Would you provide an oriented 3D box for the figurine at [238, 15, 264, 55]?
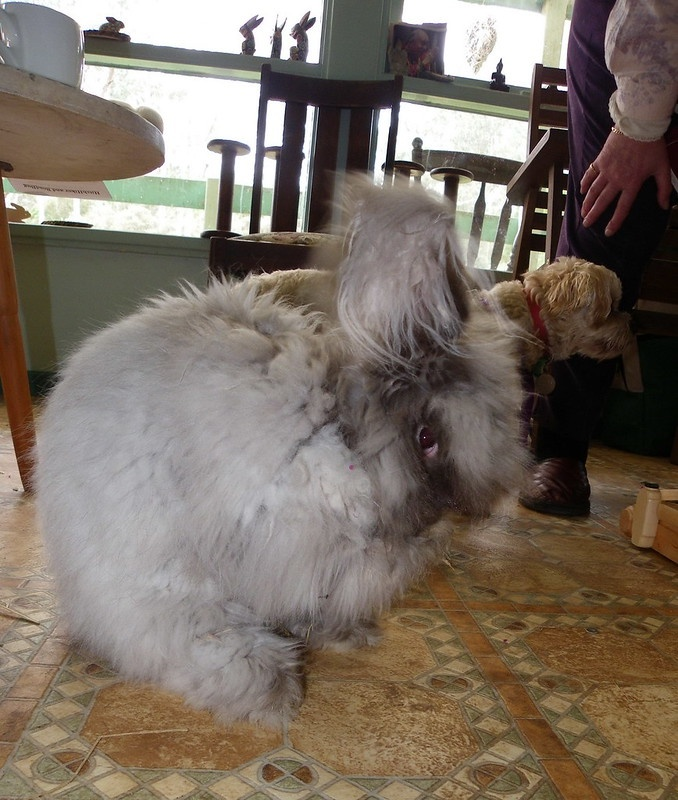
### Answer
[{"bbox_3d":[-0.529,-2.169,4.084,0.136,0.271,0.207,5,7,-9],"label":"figurine"}]

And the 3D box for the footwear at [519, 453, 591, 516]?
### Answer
[{"bbox_3d":[0.610,0.263,2.056,0.226,0.170,0.461,-1,-16,15],"label":"footwear"}]

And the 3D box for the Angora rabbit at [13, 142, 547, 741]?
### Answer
[{"bbox_3d":[0.020,0.022,0.919,0.807,0.579,0.530,10,15,21],"label":"Angora rabbit"}]
